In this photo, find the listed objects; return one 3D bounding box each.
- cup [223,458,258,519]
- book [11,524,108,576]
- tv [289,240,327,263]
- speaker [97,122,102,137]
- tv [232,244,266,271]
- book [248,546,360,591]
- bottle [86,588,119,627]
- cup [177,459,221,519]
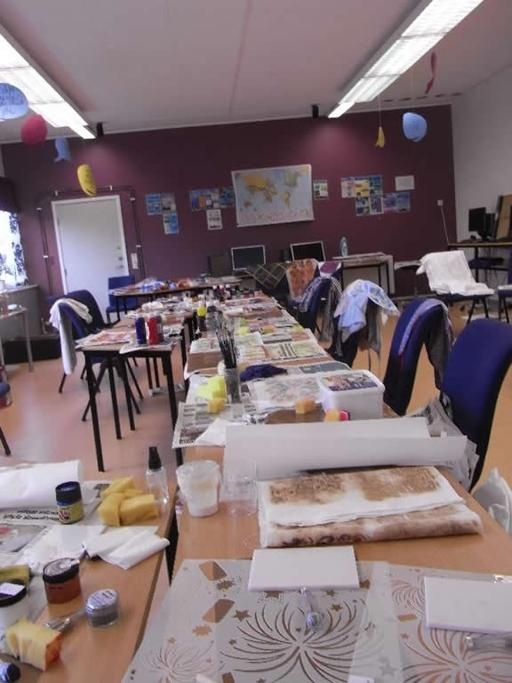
[{"bbox_3d":[-0.031,0.294,0.964,0.062,0.079,0.086,-6,11,1],"label":"cup"},{"bbox_3d":[-0.372,0.386,0.895,0.130,0.012,0.146,-4,11,13],"label":"book"},{"bbox_3d":[0.859,-1.507,8.074,0.528,0.495,0.121,-3,4,-2],"label":"tv"},{"bbox_3d":[-2.350,-3.196,7.179,0.089,0.158,0.089,0,20,-4],"label":"speaker"},{"bbox_3d":[-0.141,-1.401,7.984,0.805,0.574,0.435,-1,12,-6],"label":"tv"},{"bbox_3d":[0.072,0.348,0.727,0.163,0.017,0.109,-5,11,4],"label":"book"},{"bbox_3d":[-0.218,0.383,0.692,0.040,0.031,0.041,-1,7,0],"label":"bottle"},{"bbox_3d":[-0.118,0.297,0.995,0.092,0.098,0.091,-4,9,1],"label":"cup"}]
